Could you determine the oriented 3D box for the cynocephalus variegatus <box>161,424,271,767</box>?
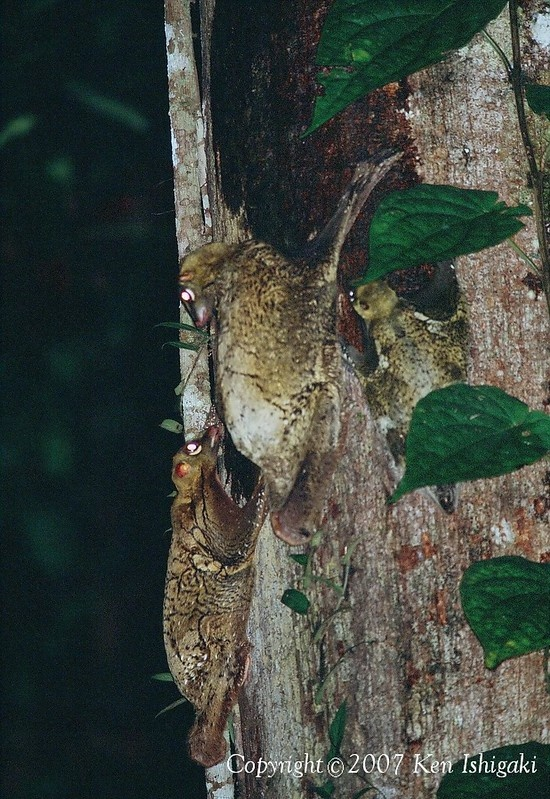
[{"bbox_3d":[-0.048,0.190,2.050,0.080,0.126,0.339,3,86,2],"label":"cynocephalus variegatus"}]

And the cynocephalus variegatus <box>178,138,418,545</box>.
[{"bbox_3d":[0.023,-0.049,1.946,0.163,0.237,0.293,5,57,7],"label":"cynocephalus variegatus"}]
